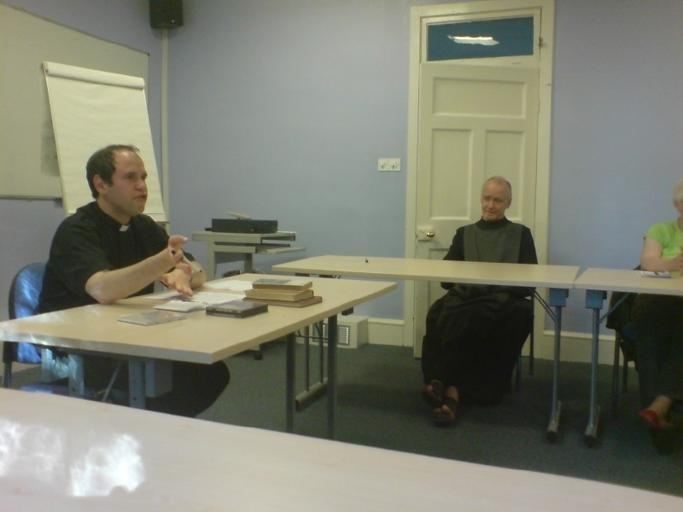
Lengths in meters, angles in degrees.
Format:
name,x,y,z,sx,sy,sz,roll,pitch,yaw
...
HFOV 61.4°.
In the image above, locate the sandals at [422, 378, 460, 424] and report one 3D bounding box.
name,x,y,z,sx,sy,sz,roll,pitch,yaw
sandals,0.517,0.800,3.109,0.140,0.116,0.235,29,37,-17
